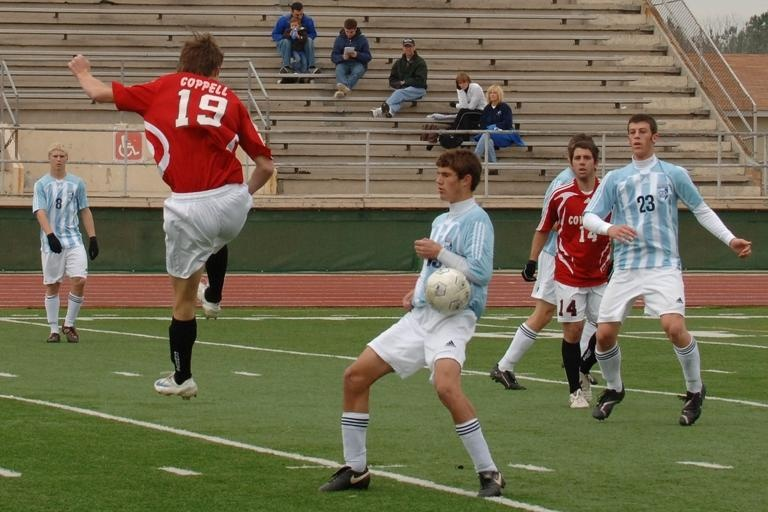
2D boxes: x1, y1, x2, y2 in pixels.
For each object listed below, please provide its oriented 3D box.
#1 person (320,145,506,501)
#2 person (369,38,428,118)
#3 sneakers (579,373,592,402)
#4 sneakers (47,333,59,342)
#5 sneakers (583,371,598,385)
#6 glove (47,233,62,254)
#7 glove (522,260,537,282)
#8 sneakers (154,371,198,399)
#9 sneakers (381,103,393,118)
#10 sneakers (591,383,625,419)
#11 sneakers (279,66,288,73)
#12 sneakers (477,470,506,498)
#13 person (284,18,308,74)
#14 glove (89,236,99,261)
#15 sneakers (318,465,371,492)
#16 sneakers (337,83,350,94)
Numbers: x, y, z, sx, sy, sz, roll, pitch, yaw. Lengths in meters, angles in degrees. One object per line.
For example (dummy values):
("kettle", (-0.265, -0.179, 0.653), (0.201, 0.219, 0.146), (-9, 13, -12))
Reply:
("person", (0.456, 0.648, 13.817), (1.636, 3.433, 1.072), (1, 11, -3))
("person", (0.372, -3.940, 29.711), (1.143, 1.702, 0.739), (-4, 12, -29))
("sneakers", (2.522, 1.642, 16.620), (0.152, 0.362, 0.167), (-6, 7, 12))
("sneakers", (-4.963, 1.201, 19.966), (0.210, 0.146, 0.283), (-1, 10, -13))
("sneakers", (2.680, 1.572, 17.279), (0.083, 0.245, 0.175), (-35, -8, 11))
("glove", (-4.805, -0.191, 19.378), (0.100, 0.296, 0.226), (-29, -16, -6))
("glove", (1.892, 0.200, 16.905), (0.106, 0.262, 0.206), (11, 19, -20))
("sneakers", (-2.262, 1.413, 14.661), (0.455, 0.223, 0.242), (10, -5, 8))
("sneakers", (0.066, -3.208, 29.458), (0.140, 0.363, 0.165), (-6, 9, 15))
("sneakers", (2.690, 1.733, 15.816), (0.541, 0.238, 0.196), (-39, 27, -21))
("sneakers", (-2.273, -4.254, 30.452), (0.191, 0.157, 0.156), (0, 10, -7))
("sneakers", (1.118, 2.307, 13.679), (0.321, 0.250, 0.211), (0, 11, -10))
("person", (-1.953, -4.790, 30.308), (0.473, 1.257, 0.536), (1, 10, -3))
("glove", (-4.672, -0.134, 21.361), (0.164, 0.458, 0.367), (0, 6, -25))
("sneakers", (-0.381, 2.282, 13.822), (0.601, 0.221, 0.203), (0, -1, -10))
("sneakers", (-0.907, -3.748, 29.863), (0.139, 0.141, 0.365), (-30, -28, 3))
